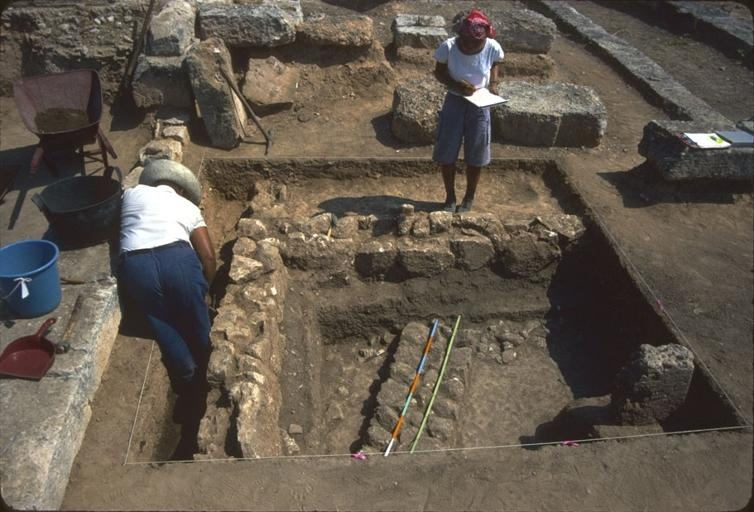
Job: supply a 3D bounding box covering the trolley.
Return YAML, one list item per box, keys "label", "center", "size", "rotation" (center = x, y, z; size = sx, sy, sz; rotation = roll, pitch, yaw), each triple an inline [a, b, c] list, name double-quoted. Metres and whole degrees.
- label: "trolley"
  center: [-4.052, -1.689, 8.970]
  size: [1.020, 1.201, 1.132]
  rotation: [-16, 40, -24]

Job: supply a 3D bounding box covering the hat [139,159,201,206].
- label: "hat"
  center: [-2.476, -0.884, 8.337]
  size: [0.600, 0.586, 0.699]
  rotation: [-6, 31, -10]

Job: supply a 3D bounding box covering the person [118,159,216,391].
- label: "person"
  center: [-2.410, 0.214, 8.107]
  size: [0.994, 2.597, 1.451]
  rotation: [-7, 5, 1]

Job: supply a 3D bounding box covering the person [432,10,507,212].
- label: "person"
  center: [1.115, -1.770, 8.719]
  size: [0.826, 2.472, 0.763]
  rotation: [14, 37, 15]
